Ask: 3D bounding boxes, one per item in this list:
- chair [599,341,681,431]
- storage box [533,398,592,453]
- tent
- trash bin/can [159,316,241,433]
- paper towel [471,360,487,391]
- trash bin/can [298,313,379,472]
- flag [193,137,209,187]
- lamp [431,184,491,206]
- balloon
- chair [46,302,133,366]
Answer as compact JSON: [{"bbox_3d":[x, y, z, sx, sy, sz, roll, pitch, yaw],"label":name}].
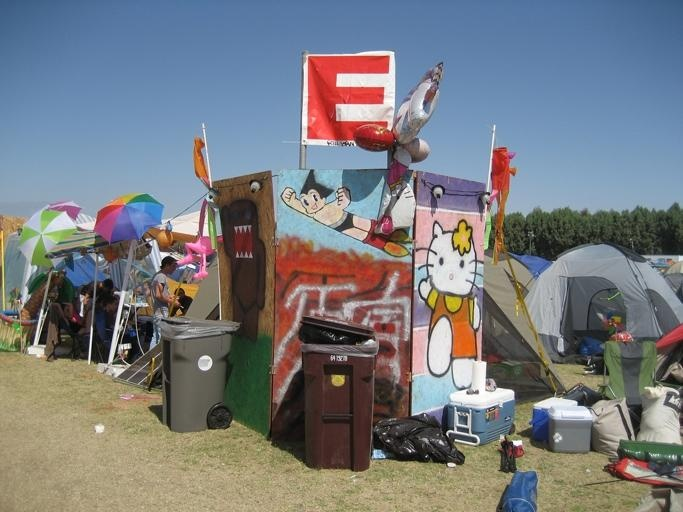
[{"bbox_3d":[4.681,2.111,9.971,1.051,1.751,1.266,0,-14,3],"label":"chair"},{"bbox_3d":[3.344,2.534,9.010,0.499,0.659,0.895,0,-6,14],"label":"storage box"},{"bbox_3d":[5.571,1.132,14.468,3.575,1.851,3.694,-2,2,32],"label":"tent"},{"bbox_3d":[-2.049,1.856,9.484,1.401,2.267,1.362,4,-5,-27],"label":"trash bin/can"},{"bbox_3d":[2.076,1.816,9.159,0.233,0.447,0.250,2,-3,11],"label":"paper towel"},{"bbox_3d":[-0.031,2.045,9.206,1.471,2.834,1.574,1,-6,-1],"label":"trash bin/can"},{"bbox_3d":[-2.243,-1.519,9.689,0.266,0.560,0.665,3,-3,-13],"label":"flag"},{"bbox_3d":[1.916,-0.955,9.567,1.159,0.432,0.283,0,6,-31],"label":"lamp"},{"bbox_3d":[0.866,-2.096,8.812,1.090,1.189,0.625,3,-3,8],"label":"balloon"},{"bbox_3d":[-6.026,1.956,14.408,1.237,1.868,1.533,2,-22,-2],"label":"chair"}]
